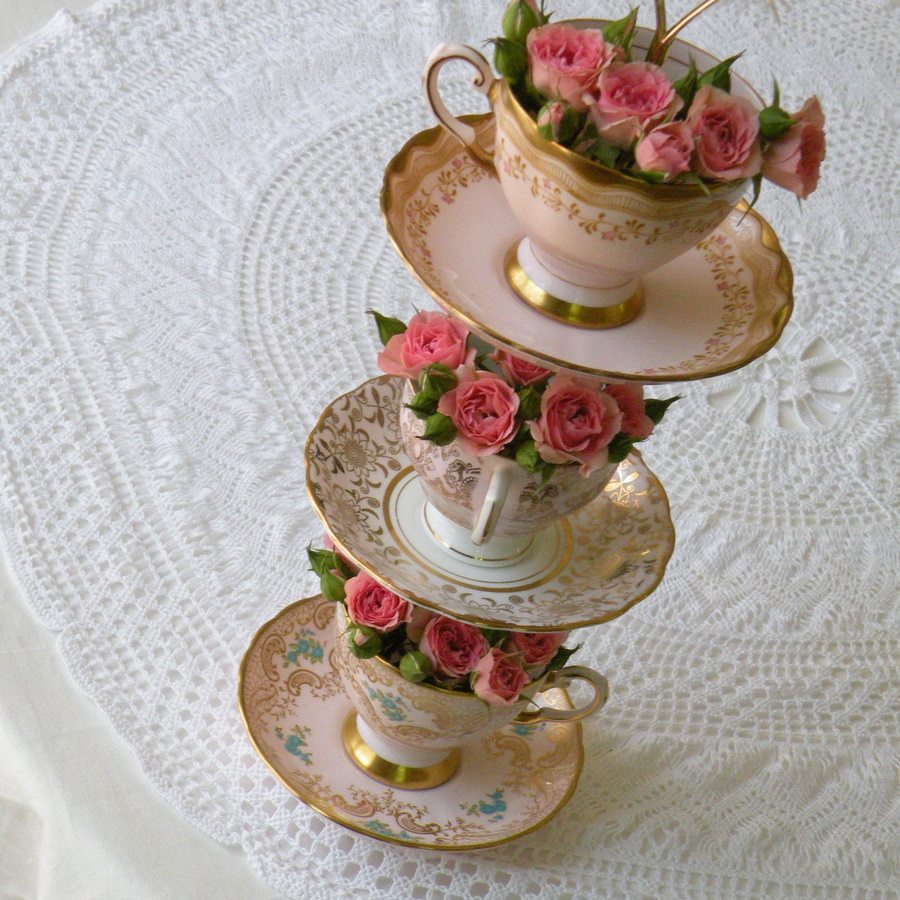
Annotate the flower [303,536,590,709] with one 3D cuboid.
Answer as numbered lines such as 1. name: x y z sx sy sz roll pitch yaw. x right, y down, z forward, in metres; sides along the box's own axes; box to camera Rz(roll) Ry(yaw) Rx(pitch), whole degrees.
1. flower: -0.014 0.135 0.706 0.168 0.037 0.138 18 17 -8

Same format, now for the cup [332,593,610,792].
1. cup: -0.015 0.204 0.791 0.243 0.117 0.148 24 10 -6

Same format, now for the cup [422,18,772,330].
1. cup: 0.080 -0.161 0.572 0.196 0.125 0.148 29 50 13
